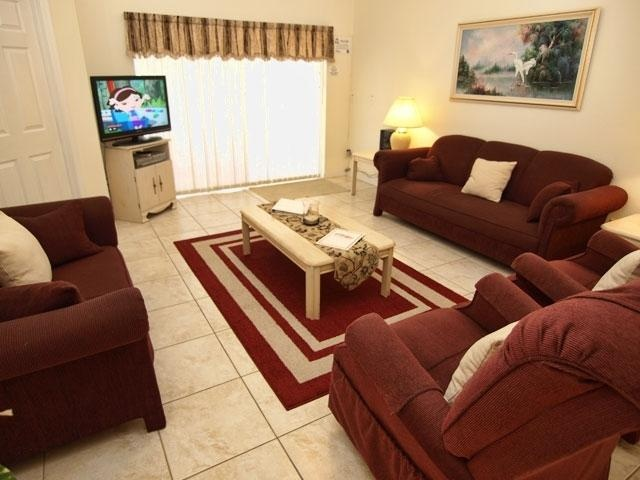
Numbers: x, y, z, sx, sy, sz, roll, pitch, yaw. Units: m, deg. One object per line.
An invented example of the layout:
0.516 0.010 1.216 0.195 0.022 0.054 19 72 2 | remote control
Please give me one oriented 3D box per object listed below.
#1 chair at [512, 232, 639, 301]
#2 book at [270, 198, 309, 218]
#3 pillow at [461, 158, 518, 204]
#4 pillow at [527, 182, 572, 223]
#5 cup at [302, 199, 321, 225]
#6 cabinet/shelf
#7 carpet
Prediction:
1.635 0.160 2.880 0.334 0.364 0.314 -1 30 -10 | chair
-0.278 -0.299 4.201 0.221 0.056 0.234 -1 25 -12 | book
1.751 -0.602 4.607 0.230 0.390 0.424 -5 19 -42 | pillow
1.991 -0.316 3.925 0.280 0.365 0.223 -10 29 -24 | pillow
-0.078 -0.248 4.048 0.171 0.277 0.170 5 27 -2 | cup
-2.029 -0.680 5.024 0.455 0.891 0.742 14 30 22 | cabinet/shelf
-0.024 0.522 3.519 1.066 0.016 1.677 -11 28 -28 | carpet
